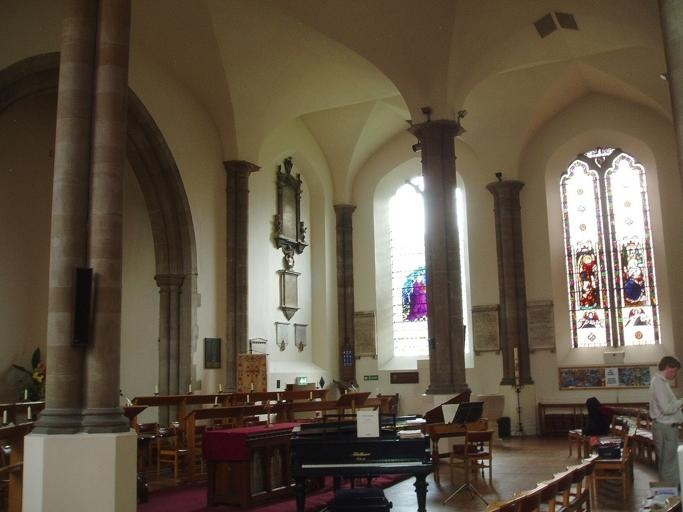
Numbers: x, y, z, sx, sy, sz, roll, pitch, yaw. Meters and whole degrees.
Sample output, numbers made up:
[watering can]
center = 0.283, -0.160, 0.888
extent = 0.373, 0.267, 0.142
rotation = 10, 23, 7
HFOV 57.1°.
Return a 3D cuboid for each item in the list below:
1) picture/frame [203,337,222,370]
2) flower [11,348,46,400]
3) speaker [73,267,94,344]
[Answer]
[picture/frame]
center = -3.194, 2.400, 15.462
extent = 0.098, 0.829, 0.697
rotation = -6, -13, 26
[flower]
center = -6.510, 2.412, 13.040
extent = 0.547, 1.138, 1.089
rotation = 6, -14, -33
[speaker]
center = -3.181, 0.610, 7.737
extent = 0.224, 0.912, 0.110
rotation = 4, -13, -26
